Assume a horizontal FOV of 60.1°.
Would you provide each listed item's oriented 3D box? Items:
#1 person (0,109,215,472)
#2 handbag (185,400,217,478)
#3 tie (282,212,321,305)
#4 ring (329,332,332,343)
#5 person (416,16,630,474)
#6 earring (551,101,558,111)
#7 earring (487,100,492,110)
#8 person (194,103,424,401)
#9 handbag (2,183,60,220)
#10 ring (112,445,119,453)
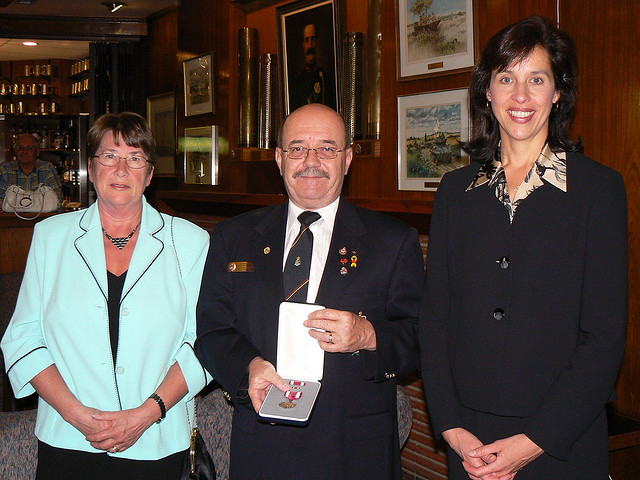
[{"bbox_3d":[-0.845,0.217,2.226,0.833,1.422,0.570,-4,10,-13],"label":"person"},{"bbox_3d":[-0.471,0.864,2.220,0.094,0.167,0.127,-5,11,-15],"label":"handbag"},{"bbox_3d":[-0.076,0.079,2.086,0.129,0.431,0.041,5,24,3],"label":"tie"},{"bbox_3d":[0.038,0.339,1.909,0.005,0.023,0.015,-3,2,-10],"label":"ring"},{"bbox_3d":[0.668,0.034,1.844,0.699,1.529,0.554,1,10,15],"label":"person"},{"bbox_3d":[0.806,-0.461,1.905,0.014,0.032,0.015,2,11,20],"label":"earring"},{"bbox_3d":[0.605,-0.488,2.000,0.012,0.033,0.013,-11,14,-43],"label":"earring"},{"bbox_3d":[-0.058,0.064,2.056,0.864,1.112,0.581,0,10,11],"label":"person"},{"bbox_3d":[-2.545,-0.351,4.951,0.491,0.363,0.270,-3,10,-23],"label":"handbag"},{"bbox_3d":[-0.772,0.800,2.111,0.011,0.014,0.024,-17,21,-20],"label":"ring"}]
